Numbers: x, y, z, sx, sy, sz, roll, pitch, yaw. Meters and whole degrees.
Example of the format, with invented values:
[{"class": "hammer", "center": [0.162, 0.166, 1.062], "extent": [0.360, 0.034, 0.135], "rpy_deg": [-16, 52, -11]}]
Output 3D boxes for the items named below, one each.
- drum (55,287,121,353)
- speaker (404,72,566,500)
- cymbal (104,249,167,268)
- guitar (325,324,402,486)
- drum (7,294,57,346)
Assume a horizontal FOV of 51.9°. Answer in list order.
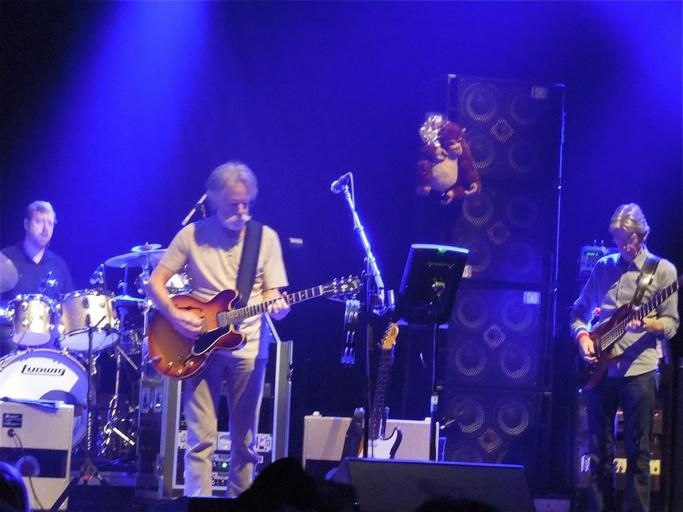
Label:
[{"class": "drum", "center": [-2.527, 0.641, 6.965], "extent": [0.525, 0.439, 0.558], "rpy_deg": [-13, -19, -5]}, {"class": "speaker", "center": [1.530, 0.225, 6.636], "extent": [1.114, 3.824, 0.519], "rpy_deg": [2, -10, -2]}, {"class": "cymbal", "center": [-2.129, 0.037, 7.212], "extent": [0.382, 0.102, 0.415], "rpy_deg": [-3, -23, -9]}, {"class": "guitar", "center": [0.292, 1.383, 6.078], "extent": [0.640, 1.862, 0.205], "rpy_deg": [8, 23, 4]}, {"class": "drum", "center": [-2.906, 0.603, 6.638], "extent": [0.424, 0.346, 0.439], "rpy_deg": [-4, -21, -1]}]
